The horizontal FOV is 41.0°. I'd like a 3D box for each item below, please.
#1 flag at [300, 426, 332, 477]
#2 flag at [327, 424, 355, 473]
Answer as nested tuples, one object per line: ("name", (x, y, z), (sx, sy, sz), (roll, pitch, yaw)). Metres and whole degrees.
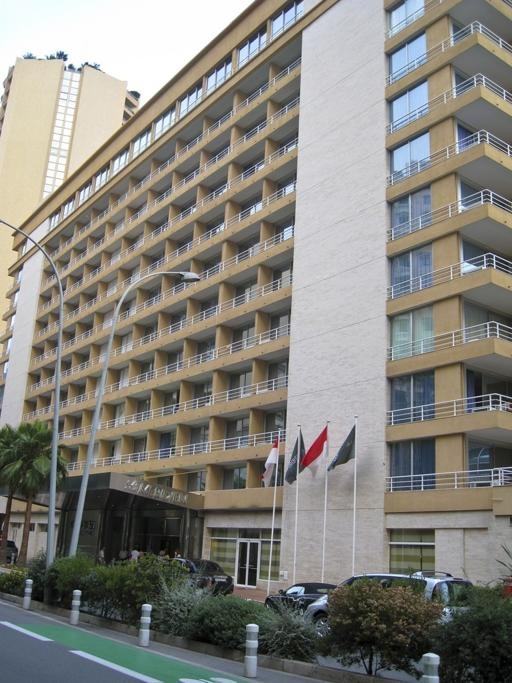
("flag", (2.369, 4.351, 27.199), (0.812, 1.786, 1.531), (8, -20, -7))
("flag", (3.494, 3.935, 26.161), (0.883, 2.451, 0.239), (6, -52, 15))
